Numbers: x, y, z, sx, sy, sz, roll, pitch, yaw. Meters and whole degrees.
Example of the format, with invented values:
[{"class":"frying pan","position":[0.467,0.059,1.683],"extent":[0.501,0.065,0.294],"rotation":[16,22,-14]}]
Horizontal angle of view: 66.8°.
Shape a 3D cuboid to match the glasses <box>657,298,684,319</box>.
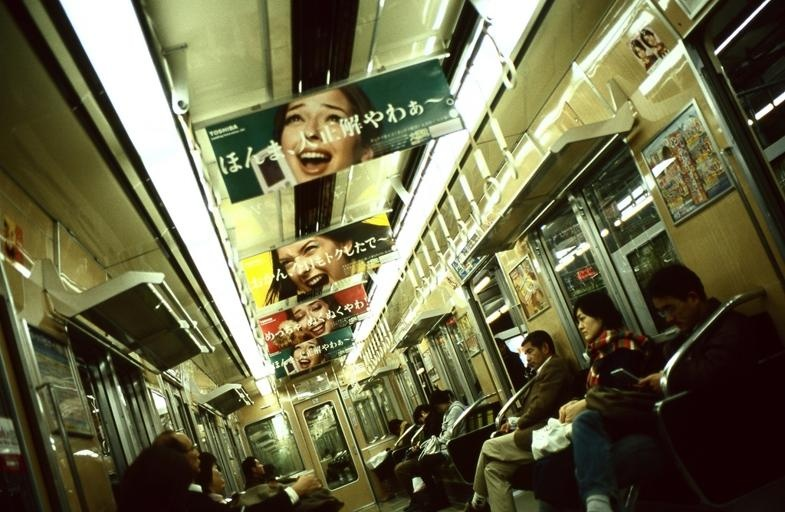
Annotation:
[{"class":"glasses","position":[1.952,0.364,4.181],"extent":[0.082,0.130,0.112],"rotation":[-45,-2,-19]}]
